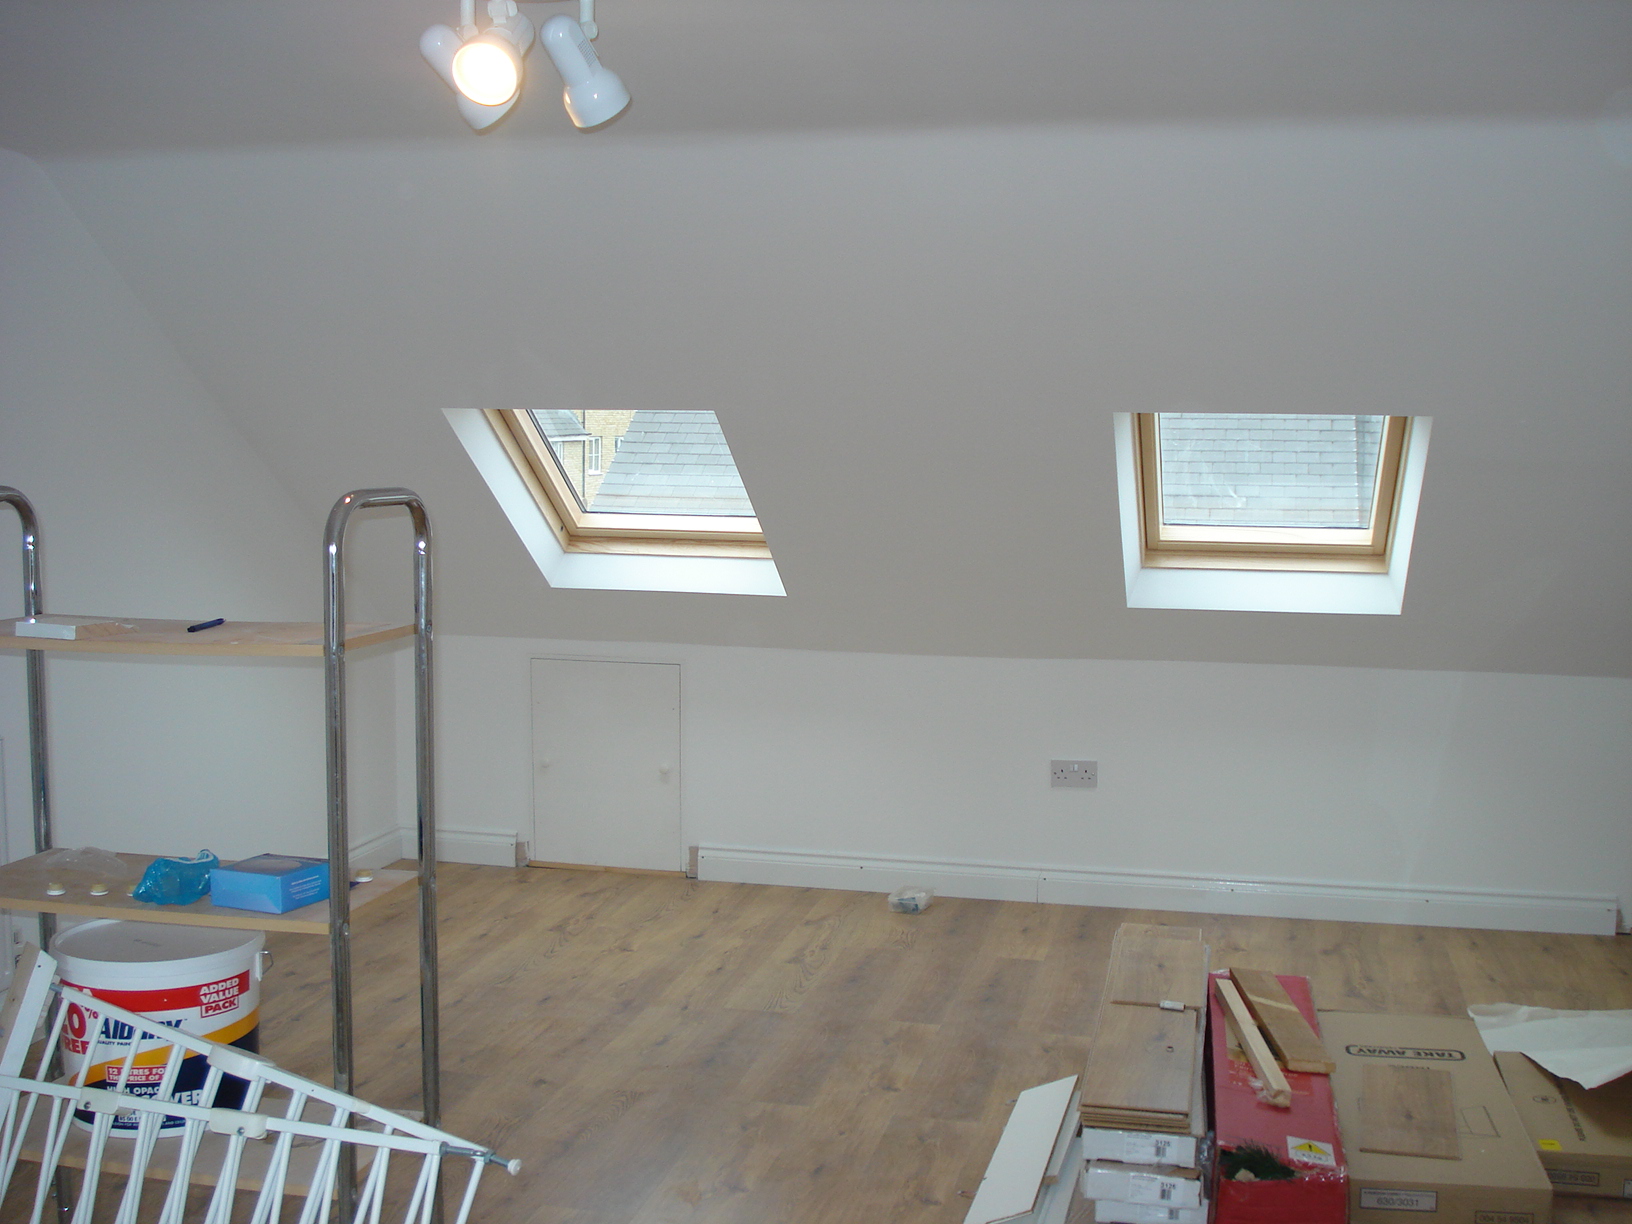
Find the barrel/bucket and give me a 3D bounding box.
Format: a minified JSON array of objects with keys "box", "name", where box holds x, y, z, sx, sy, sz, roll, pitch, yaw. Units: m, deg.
[{"box":[-1.699,1.078,3.148,0.564,0.470,0.432,1,10,8],"name":"barrel/bucket"}]
